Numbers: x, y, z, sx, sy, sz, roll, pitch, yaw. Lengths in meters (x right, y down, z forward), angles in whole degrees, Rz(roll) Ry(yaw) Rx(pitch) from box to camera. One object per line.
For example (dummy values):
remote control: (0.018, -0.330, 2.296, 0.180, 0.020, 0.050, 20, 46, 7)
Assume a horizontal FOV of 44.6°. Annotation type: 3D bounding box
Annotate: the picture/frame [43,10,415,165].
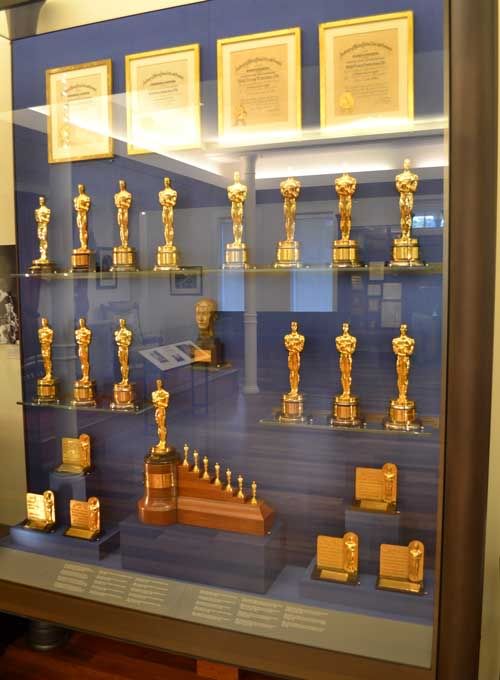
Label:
picture/frame: (-0.020, -0.572, 1.373, 0.987, 0.321, 0.122, -1, 9, 23)
